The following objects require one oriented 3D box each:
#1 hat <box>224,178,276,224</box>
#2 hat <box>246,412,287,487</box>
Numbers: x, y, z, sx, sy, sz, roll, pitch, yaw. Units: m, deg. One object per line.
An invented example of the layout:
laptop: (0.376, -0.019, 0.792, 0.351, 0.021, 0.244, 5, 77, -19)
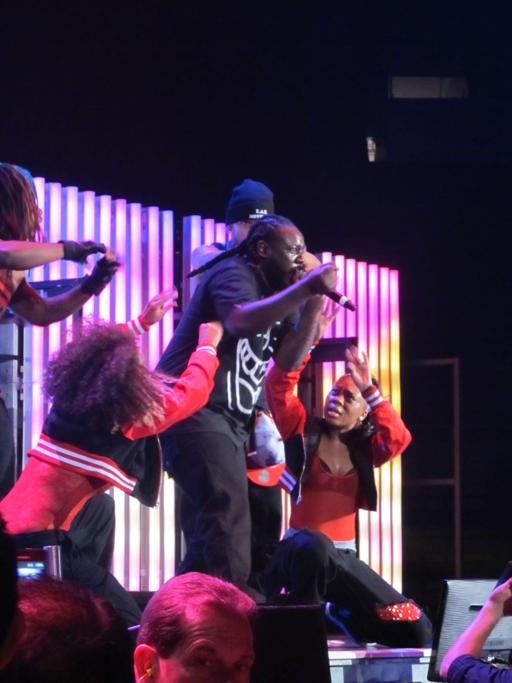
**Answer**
hat: (-0.019, -0.525, 4.265, 0.176, 0.171, 0.163, -1, 2, -8)
hat: (0.041, 0.372, 3.771, 0.117, 0.231, 0.180, -14, -7, 39)
